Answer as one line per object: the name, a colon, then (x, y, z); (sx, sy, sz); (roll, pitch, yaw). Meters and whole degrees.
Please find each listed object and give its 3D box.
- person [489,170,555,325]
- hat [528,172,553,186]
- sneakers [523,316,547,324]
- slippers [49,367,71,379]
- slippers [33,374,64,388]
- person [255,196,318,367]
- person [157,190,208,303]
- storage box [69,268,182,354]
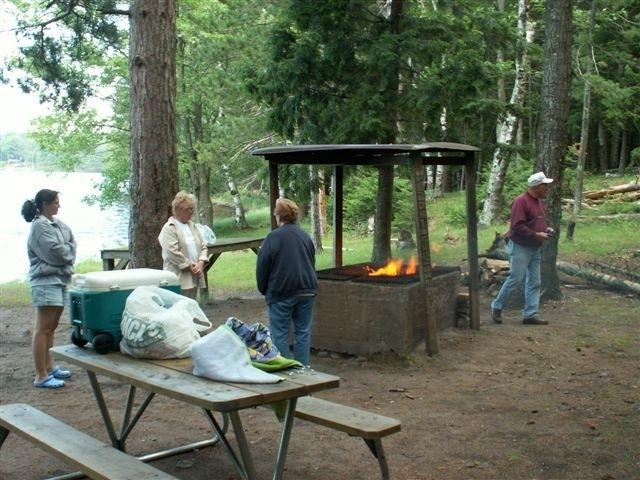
person: (3.486, 0.172, 12.181); (0.940, 2.601, 0.526); (0, 6, 17)
hat: (3.773, -1.018, 11.993); (0.455, 0.187, 0.312); (-4, 7, -14)
sneakers: (3.700, 1.414, 12.294); (0.431, 0.165, 0.145); (-3, 2, 11)
slippers: (-3.729, 1.926, 10.187); (0.317, 0.130, 0.113); (7, 10, -4)
slippers: (-3.789, 1.977, 9.894); (0.347, 0.144, 0.176); (1, 2, 2)
person: (-0.440, 0.574, 9.133); (0.766, 2.174, 0.465); (-2, 6, -3)
person: (-1.955, 0.089, 10.249); (0.723, 1.551, 0.440); (-7, 8, -41)
storage box: (-2.282, 0.789, 8.229); (1.188, 0.825, 0.753); (-2, 4, -41)
